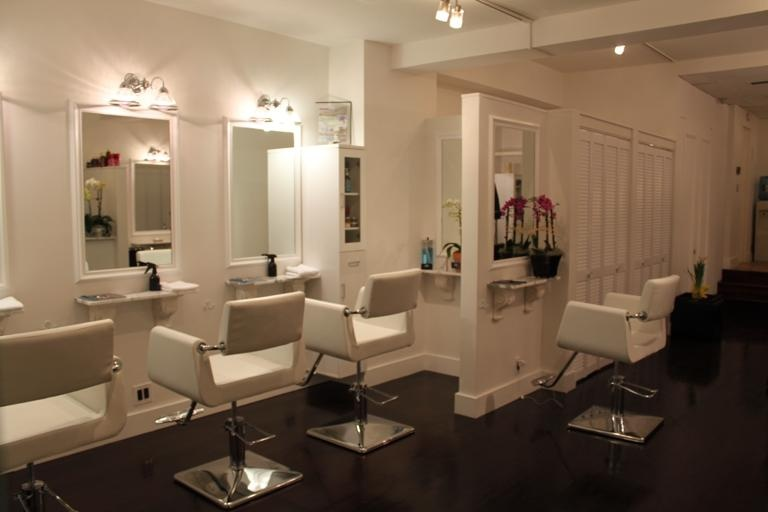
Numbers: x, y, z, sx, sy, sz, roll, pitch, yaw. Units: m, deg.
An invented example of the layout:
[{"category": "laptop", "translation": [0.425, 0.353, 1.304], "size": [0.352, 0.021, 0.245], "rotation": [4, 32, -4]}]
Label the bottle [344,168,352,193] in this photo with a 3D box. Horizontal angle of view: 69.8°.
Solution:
[{"category": "bottle", "translation": [-0.369, -0.780, 5.665], "size": [0.030, 0.245, 0.097], "rotation": [8, 13, 38]}]

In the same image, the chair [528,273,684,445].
[{"category": "chair", "translation": [2.247, 0.839, 5.480], "size": [1.472, 1.725, 1.282], "rotation": [2, 4, 40]}]

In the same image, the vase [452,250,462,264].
[{"category": "vase", "translation": [0.774, 0.009, 5.892], "size": [0.112, 0.129, 0.112], "rotation": [2, 9, 13]}]

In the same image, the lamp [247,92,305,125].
[{"category": "lamp", "translation": [-1.063, -1.463, 5.521], "size": [0.202, 0.286, 0.573], "rotation": [9, 14, 41]}]

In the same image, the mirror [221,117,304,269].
[{"category": "mirror", "translation": [-1.214, -0.637, 5.539], "size": [0.186, 1.381, 0.913], "rotation": [9, 14, 42]}]

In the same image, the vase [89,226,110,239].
[{"category": "vase", "translation": [-2.387, -0.206, 4.662], "size": [0.102, 0.072, 0.103], "rotation": [1, 1, 14]}]

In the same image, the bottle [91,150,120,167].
[{"category": "bottle", "translation": [-2.350, -0.812, 4.664], "size": [0.185, 0.125, 0.109], "rotation": [-6, 13, -30]}]

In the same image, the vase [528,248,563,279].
[{"category": "vase", "translation": [1.597, 0.065, 5.519], "size": [0.296, 0.222, 0.305], "rotation": [0, 3, 2]}]

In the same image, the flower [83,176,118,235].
[{"category": "flower", "translation": [-2.403, -0.405, 4.640], "size": [0.214, 0.501, 0.067], "rotation": [-6, 12, -27]}]

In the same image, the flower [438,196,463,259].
[{"category": "flower", "translation": [0.729, -0.285, 6.002], "size": [0.171, 0.648, 0.371], "rotation": [-1, 10, -1]}]

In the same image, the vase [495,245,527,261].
[{"category": "vase", "translation": [1.212, -0.035, 5.415], "size": [0.214, 0.069, 0.187], "rotation": [8, 14, 31]}]

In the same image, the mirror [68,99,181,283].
[{"category": "mirror", "translation": [-2.230, -0.516, 4.766], "size": [0.931, 1.666, 0.058], "rotation": [1, -35, -22]}]

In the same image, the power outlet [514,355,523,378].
[{"category": "power outlet", "translation": [1.362, 1.104, 5.583], "size": [0.036, 0.179, 0.116], "rotation": [9, 14, 43]}]
